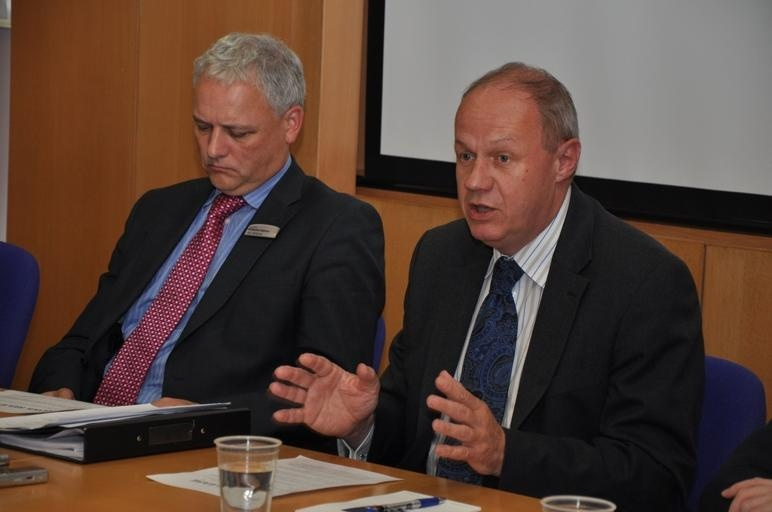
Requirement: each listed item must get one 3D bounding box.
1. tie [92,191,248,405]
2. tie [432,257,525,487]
[{"bbox_3d":[-0.787,0.149,2.710,0.243,1.171,0.104,16,-21,32],"label":"tie"},{"bbox_3d":[0.357,0.331,2.155,0.209,0.823,0.177,9,-9,29],"label":"tie"}]
